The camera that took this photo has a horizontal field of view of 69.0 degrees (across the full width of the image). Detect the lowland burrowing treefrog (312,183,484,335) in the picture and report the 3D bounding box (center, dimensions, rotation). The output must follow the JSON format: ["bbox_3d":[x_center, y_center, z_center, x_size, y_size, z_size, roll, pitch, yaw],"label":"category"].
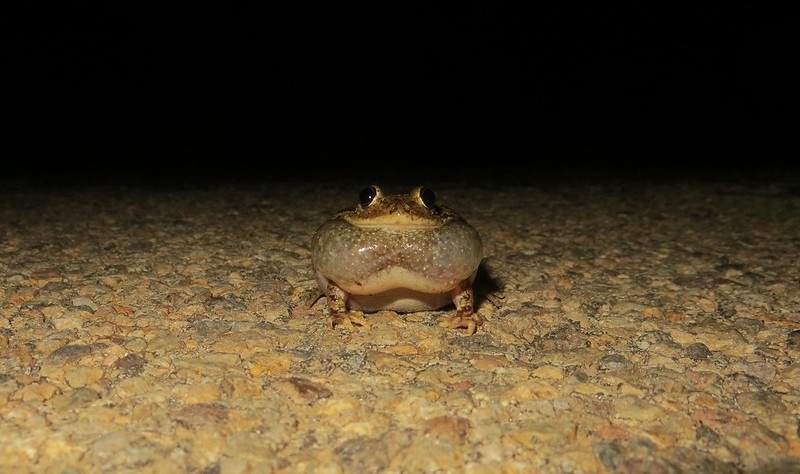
[{"bbox_3d":[-0.004,0.130,4.690,1.394,0.841,1.138,-1,2,-1],"label":"lowland burrowing treefrog"}]
